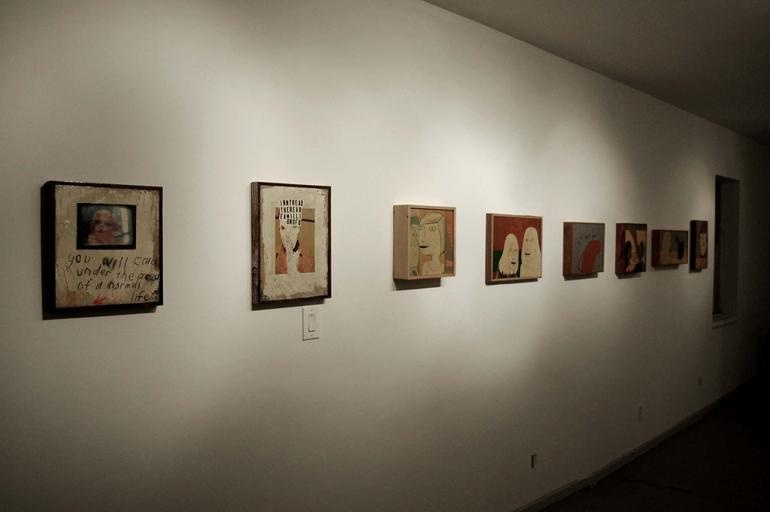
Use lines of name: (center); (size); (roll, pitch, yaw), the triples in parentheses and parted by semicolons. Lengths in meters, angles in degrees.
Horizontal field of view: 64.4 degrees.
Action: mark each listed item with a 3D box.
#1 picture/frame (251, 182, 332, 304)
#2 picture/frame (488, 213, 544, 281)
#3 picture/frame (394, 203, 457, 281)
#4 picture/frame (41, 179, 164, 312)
picture/frame: (-0.516, -0.078, 3.303); (0.567, 0.888, 0.086); (-1, 4, -28)
picture/frame: (0.854, -0.063, 4.063); (0.376, 0.366, 0.051); (-7, 10, -39)
picture/frame: (0.254, -0.079, 3.700); (0.387, 0.436, 0.132); (0, -1, -36)
picture/frame: (-1.394, -0.054, 2.982); (0.551, 0.775, 0.096); (-1, 3, -23)
